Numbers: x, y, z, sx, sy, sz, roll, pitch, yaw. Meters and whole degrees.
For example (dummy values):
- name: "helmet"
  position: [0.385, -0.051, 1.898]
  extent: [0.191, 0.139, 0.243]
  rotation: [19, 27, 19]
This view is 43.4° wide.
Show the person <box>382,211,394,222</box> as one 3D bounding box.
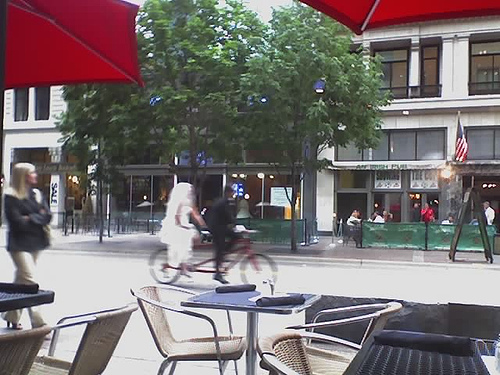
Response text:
- name: "person"
  position: [6.530, 1.387, 29.774]
  extent: [0.323, 0.334, 0.887]
  rotation: [14, 6, 21]

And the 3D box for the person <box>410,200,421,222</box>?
- name: "person"
  position: [8.149, 1.163, 30.940]
  extent: [0.525, 1.047, 0.257]
  rotation: [1, 0, 20]

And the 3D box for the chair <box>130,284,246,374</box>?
- name: "chair"
  position: [-0.669, 1.953, 7.390]
  extent: [1.248, 1.197, 1.389]
  rotation: [-1, -1, 5]

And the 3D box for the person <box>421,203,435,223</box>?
- name: "person"
  position: [8.618, 1.246, 30.376]
  extent: [0.653, 1.166, 0.436]
  rotation: [-5, -19, 25]

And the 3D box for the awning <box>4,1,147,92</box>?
- name: "awning"
  position: [-1.944, -1.552, 6.807]
  extent: [1.181, 0.597, 1.294]
  rotation: [-3, -29, -12]

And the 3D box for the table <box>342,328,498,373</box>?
- name: "table"
  position: [1.495, 1.407, 5.399]
  extent: [0.617, 0.195, 0.705]
  rotation: [0, -4, -37]

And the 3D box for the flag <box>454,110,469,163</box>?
- name: "flag"
  position: [9.907, -2.424, 29.511]
  extent: [0.620, 2.505, 1.736]
  rotation: [1, 0, 19]

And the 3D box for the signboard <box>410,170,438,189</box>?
- name: "signboard"
  position: [8.556, -0.377, 30.721]
  extent: [0.798, 0.770, 0.087]
  rotation: [-1, -6, 25]

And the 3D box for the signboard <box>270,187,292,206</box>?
- name: "signboard"
  position: [1.541, 0.502, 31.062]
  extent: [0.821, 0.840, 0.093]
  rotation: [1, -11, 2]

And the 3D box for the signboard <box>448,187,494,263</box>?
- name: "signboard"
  position: [7.224, 1.211, 20.410]
  extent: [1.549, 2.504, 1.045]
  rotation: [1, 0, -19]

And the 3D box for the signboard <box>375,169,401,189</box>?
- name: "signboard"
  position: [6.942, -0.409, 31.396]
  extent: [0.807, 0.892, 0.071]
  rotation: [-2, -9, 25]

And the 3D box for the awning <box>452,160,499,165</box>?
- name: "awning"
  position: [10.660, -1.156, 29.511]
  extent: [1.667, 0.287, 0.146]
  rotation: [2, 1, 24]

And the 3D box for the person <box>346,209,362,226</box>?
- name: "person"
  position: [4.794, 1.375, 28.796]
  extent: [0.511, 1.157, 0.480]
  rotation: [-1, 7, -21]
